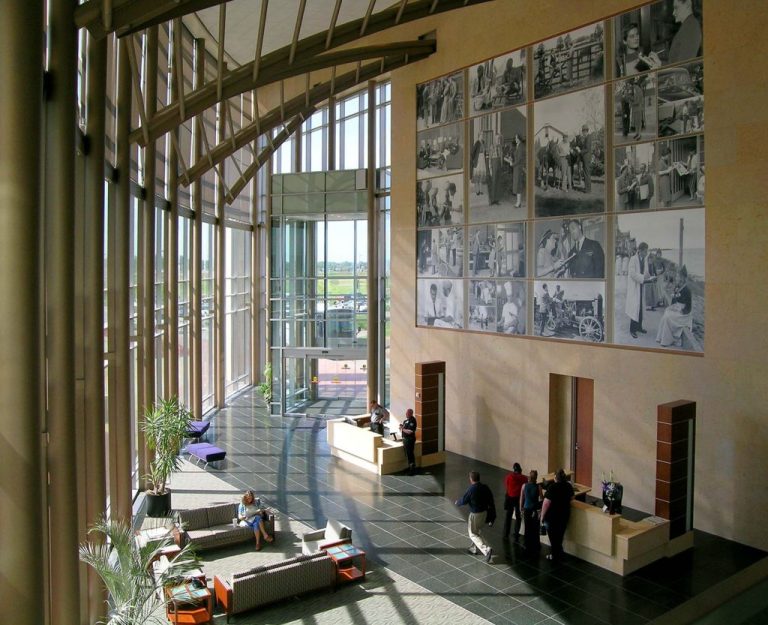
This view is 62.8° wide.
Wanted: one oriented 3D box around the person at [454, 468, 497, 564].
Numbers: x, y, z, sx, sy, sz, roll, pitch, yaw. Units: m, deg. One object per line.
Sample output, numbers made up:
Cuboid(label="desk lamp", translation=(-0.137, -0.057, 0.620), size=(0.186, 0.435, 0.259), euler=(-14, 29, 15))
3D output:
Cuboid(label="person", translation=(1.858, 3.857, 12.196), size=(0.639, 1.745, 0.855), euler=(4, 2, -14))

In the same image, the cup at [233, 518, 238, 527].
Cuboid(label="cup", translation=(-3.035, 4.281, 12.842), size=(0.069, 0.139, 0.073), euler=(-1, -3, 0))

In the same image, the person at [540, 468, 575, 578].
Cuboid(label="person", translation=(3.230, 3.782, 11.754), size=(0.536, 1.674, 0.309), euler=(-3, 4, -27))

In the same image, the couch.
Cuboid(label="couch", translation=(-3.317, 4.266, 12.500), size=(1.385, 0.659, 0.758), euler=(-3, 5, -28))
